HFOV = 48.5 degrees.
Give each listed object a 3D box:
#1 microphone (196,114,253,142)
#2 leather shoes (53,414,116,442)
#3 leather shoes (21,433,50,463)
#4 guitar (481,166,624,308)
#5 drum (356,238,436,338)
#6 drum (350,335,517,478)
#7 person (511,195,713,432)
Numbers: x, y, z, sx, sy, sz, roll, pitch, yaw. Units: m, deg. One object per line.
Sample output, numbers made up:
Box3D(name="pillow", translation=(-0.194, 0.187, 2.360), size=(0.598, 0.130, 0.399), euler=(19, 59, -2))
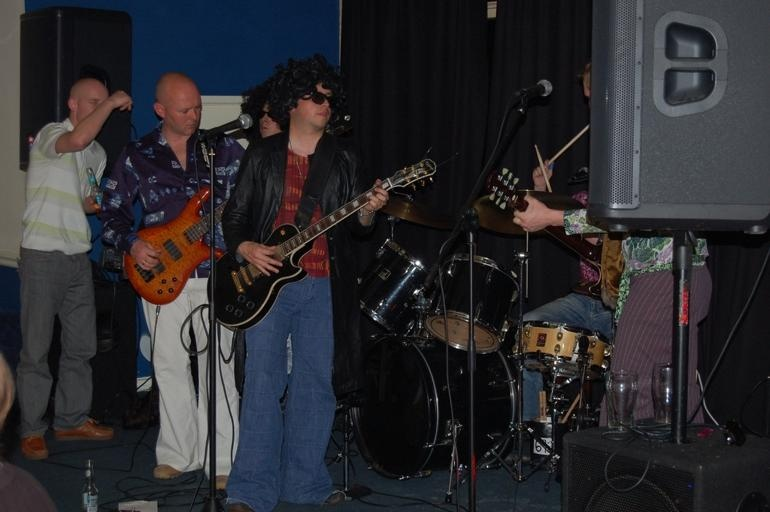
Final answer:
Box3D(name="microphone", translation=(-0.916, -0.736, 4.885), size=(0.306, 0.170, 0.231), euler=(2, 3, -7))
Box3D(name="leather shoes", translation=(-2.212, 1.267, 6.290), size=(0.425, 0.207, 0.166), euler=(-1, 0, -9))
Box3D(name="leather shoes", translation=(-2.425, 1.303, 5.868), size=(0.265, 0.132, 0.127), euler=(4, 4, 22))
Box3D(name="guitar", translation=(1.226, -0.151, 5.510), size=(0.909, 0.489, 0.937), euler=(-25, 14, -11))
Box3D(name="drum", translation=(0.078, 0.163, 5.856), size=(0.418, 0.480, 0.429), euler=(26, 19, 14))
Box3D(name="drum", translation=(0.240, 0.855, 5.801), size=(0.846, 1.201, 1.000), euler=(-7, 14, -43))
Box3D(name="person", translation=(1.213, 0.313, 4.568), size=(1.177, 1.208, 0.844), euler=(3, -9, -2))
